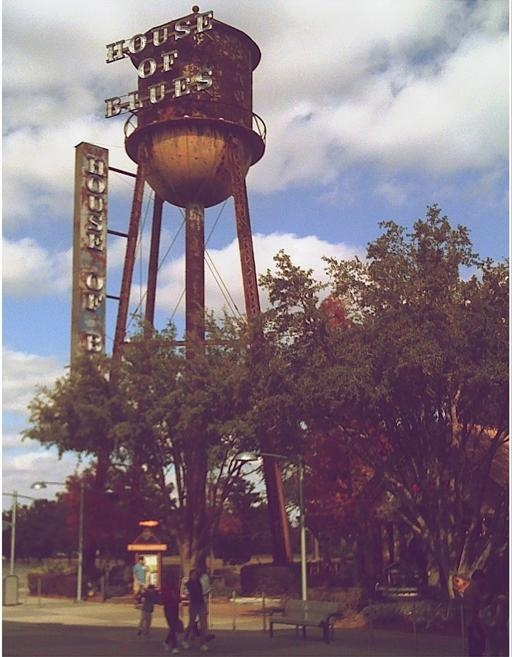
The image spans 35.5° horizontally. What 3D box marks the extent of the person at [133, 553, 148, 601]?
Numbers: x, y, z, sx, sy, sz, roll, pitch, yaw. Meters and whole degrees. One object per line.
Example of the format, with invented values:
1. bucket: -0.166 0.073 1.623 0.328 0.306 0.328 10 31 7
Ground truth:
1. person: -4.246 8.976 29.637 0.486 0.440 1.553 0 -59 -11

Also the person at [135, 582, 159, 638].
1. person: -2.937 7.495 21.782 0.439 1.584 0.491 8 17 -11
